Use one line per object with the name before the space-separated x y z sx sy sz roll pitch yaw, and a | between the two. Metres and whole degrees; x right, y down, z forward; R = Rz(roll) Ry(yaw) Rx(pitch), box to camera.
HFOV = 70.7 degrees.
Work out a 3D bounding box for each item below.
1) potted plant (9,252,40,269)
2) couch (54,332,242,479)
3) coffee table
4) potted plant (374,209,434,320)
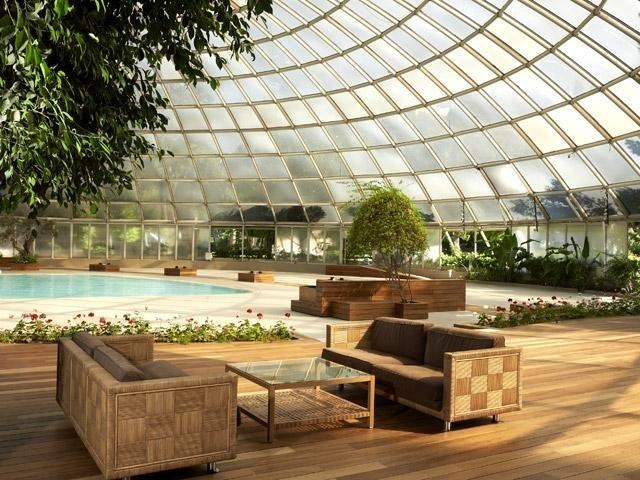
potted plant | -17.052 1.216 26.007 1.407 0.700 1.259 2 -3 -25
couch | -1.304 0.896 3.677 1.134 0.697 2.271 -1 2 -32
coffee table | -0.236 1.601 4.725 1.255 0.528 1.128 1 -4 -25
potted plant | 2.146 0.438 12.179 1.450 3.170 2.889 -1 -4 12
